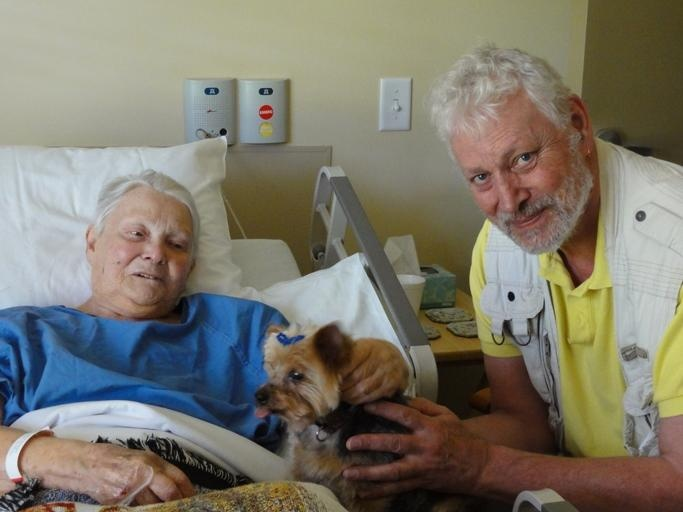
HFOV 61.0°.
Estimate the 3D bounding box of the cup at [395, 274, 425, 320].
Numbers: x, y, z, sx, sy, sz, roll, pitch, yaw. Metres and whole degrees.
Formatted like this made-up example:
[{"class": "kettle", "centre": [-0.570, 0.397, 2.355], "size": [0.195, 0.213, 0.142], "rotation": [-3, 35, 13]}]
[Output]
[{"class": "cup", "centre": [0.266, 0.158, 2.322], "size": [0.138, 0.135, 0.150], "rotation": [-1, 8, 0]}]
